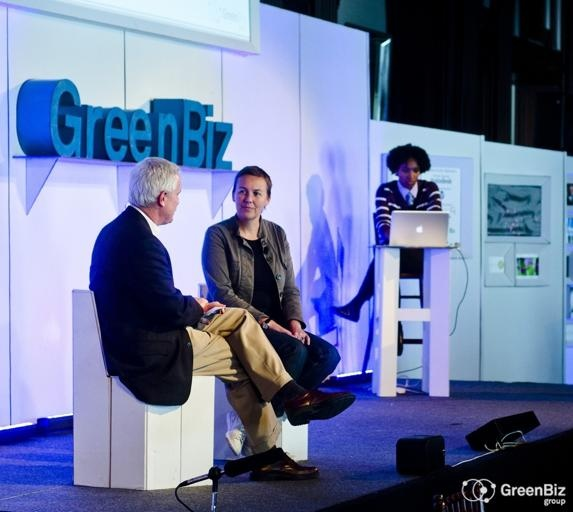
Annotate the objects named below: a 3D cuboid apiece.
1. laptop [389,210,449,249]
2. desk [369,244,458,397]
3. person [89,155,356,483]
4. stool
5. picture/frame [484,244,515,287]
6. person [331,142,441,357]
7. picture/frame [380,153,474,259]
[{"bbox_3d":[0.966,-0.198,5.171,0.338,0.282,0.267,1,5,1],"label":"laptop"},{"bbox_3d":[1.079,0.516,5.534,0.512,0.925,0.569,-1,-3,-13],"label":"desk"},{"bbox_3d":[-0.371,0.279,3.118,0.983,1.435,0.359,-1,3,-8],"label":"person"},{"bbox_3d":[0.895,0.565,6.009,0.680,1.178,0.797,0,-2,-4],"label":"stool"},{"bbox_3d":[2.167,0.096,7.148,0.482,0.439,0.096,-3,4,-38],"label":"picture/frame"},{"bbox_3d":[0.892,0.005,5.492,0.872,1.850,0.830,-1,2,15],"label":"person"},{"bbox_3d":[1.403,-0.495,6.707,0.848,1.001,0.065,5,-6,-25],"label":"picture/frame"}]
